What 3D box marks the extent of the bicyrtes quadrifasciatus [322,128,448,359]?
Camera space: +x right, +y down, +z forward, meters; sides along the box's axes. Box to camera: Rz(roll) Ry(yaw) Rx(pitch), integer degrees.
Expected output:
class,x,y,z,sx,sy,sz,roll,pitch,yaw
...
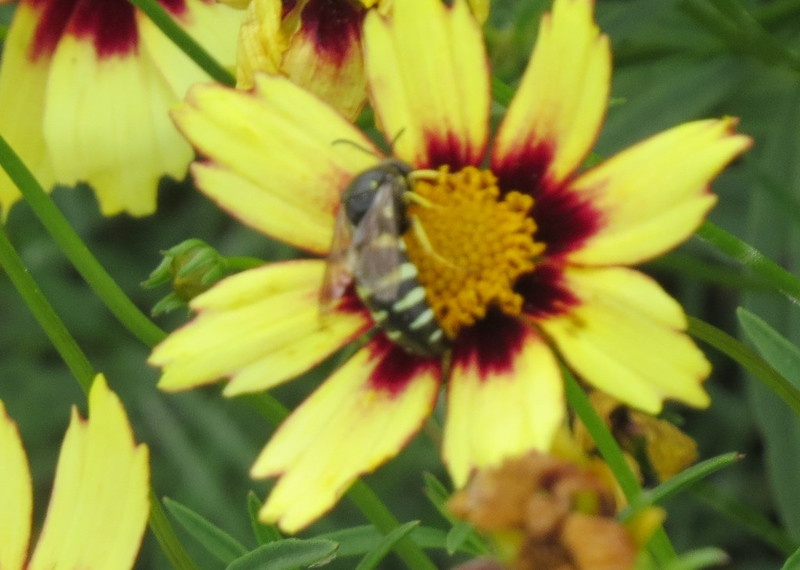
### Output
class,x,y,z,sx,sy,sz,roll,pitch,yaw
bicyrtes quadrifasciatus,-0.003,-0.020,0.602,0.085,0.037,0.131,-7,78,43
